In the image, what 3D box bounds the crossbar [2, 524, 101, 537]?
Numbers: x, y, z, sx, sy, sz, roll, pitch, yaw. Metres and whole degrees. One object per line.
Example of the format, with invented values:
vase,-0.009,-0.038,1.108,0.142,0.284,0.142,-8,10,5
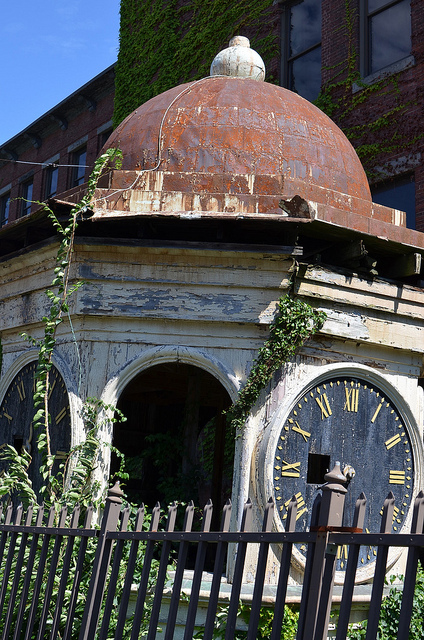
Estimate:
crossbar,-1.310,1.703,10.612,0.827,0.112,0.064,-2,-11,33
